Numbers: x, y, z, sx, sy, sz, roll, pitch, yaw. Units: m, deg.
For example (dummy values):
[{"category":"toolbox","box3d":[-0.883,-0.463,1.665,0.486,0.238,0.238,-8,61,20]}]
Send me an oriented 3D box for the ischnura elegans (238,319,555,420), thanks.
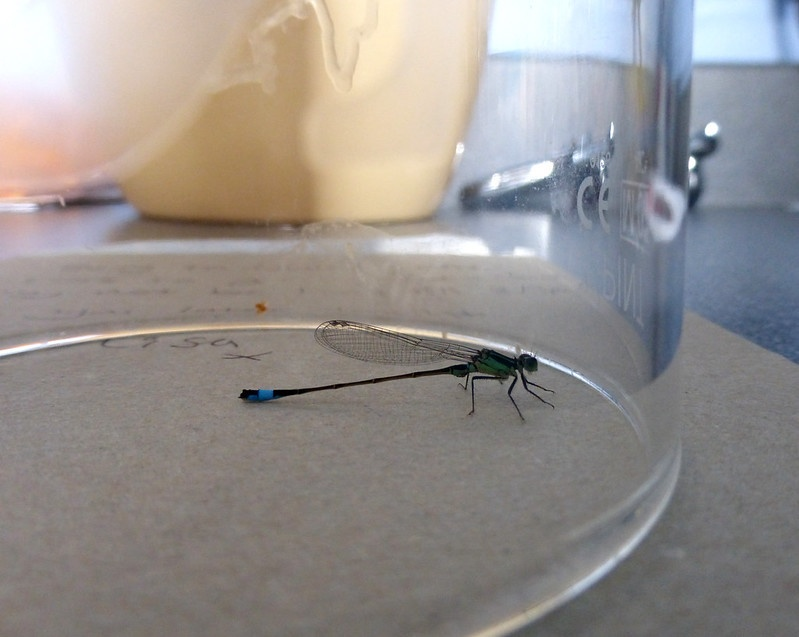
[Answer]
[{"category":"ischnura elegans","box3d":[0.003,0.064,0.904,0.416,0.164,0.156,-11,-7,12]}]
